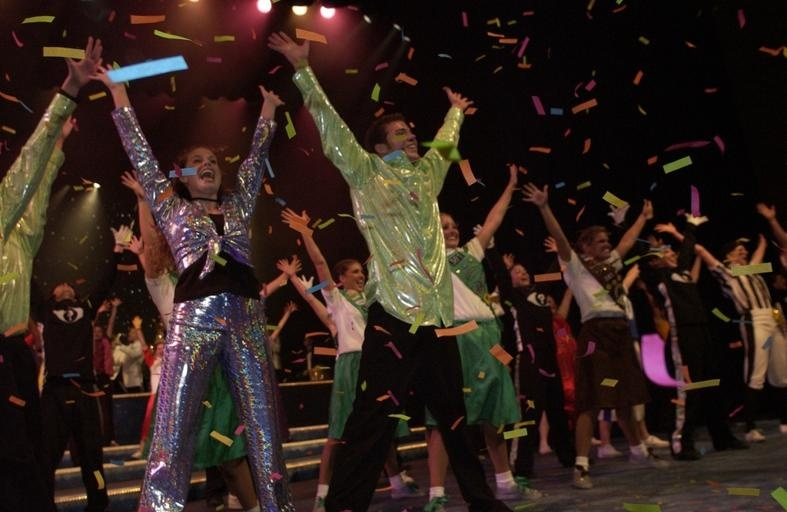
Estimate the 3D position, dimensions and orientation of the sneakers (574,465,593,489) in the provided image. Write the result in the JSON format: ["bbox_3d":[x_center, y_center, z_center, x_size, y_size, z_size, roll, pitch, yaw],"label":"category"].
[{"bbox_3d":[1.583,1.875,5.281,0.161,0.203,0.232,-12,-20,11],"label":"sneakers"}]

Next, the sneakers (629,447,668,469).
[{"bbox_3d":[2.394,1.929,5.942,0.131,0.167,0.385,-5,-10,-39],"label":"sneakers"}]

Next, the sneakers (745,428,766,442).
[{"bbox_3d":[3.930,1.935,6.794,0.139,0.131,0.314,-6,-3,29],"label":"sneakers"}]

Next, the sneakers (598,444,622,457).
[{"bbox_3d":[2.290,2.094,6.701,0.255,0.131,0.139,-6,-9,34],"label":"sneakers"}]

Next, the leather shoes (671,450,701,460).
[{"bbox_3d":[2.818,1.936,6.050,0.274,0.104,0.097,-5,-15,21],"label":"leather shoes"}]

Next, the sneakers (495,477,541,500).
[{"bbox_3d":[1.008,1.914,5.114,0.394,0.154,0.138,-2,-3,4],"label":"sneakers"}]
